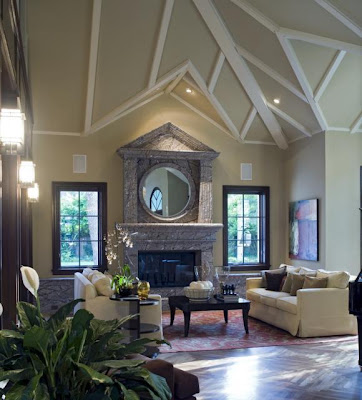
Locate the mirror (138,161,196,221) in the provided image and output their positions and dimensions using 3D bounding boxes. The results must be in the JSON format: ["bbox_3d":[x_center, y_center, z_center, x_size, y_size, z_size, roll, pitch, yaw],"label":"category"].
[{"bbox_3d":[-0.416,-0.202,8.384,1.416,1.487,0.101,0,-2,-22],"label":"mirror"}]

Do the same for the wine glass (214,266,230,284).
[{"bbox_3d":[0.759,1.391,6.316,0.235,0.302,0.265,0,-7,2],"label":"wine glass"}]

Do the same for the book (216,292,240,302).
[{"bbox_3d":[0.822,1.723,6.013,0.247,0.064,0.255,1,-3,-8],"label":"book"}]

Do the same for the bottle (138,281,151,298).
[{"bbox_3d":[-0.561,1.286,4.938,0.198,0.251,0.204,1,0,0],"label":"bottle"}]
